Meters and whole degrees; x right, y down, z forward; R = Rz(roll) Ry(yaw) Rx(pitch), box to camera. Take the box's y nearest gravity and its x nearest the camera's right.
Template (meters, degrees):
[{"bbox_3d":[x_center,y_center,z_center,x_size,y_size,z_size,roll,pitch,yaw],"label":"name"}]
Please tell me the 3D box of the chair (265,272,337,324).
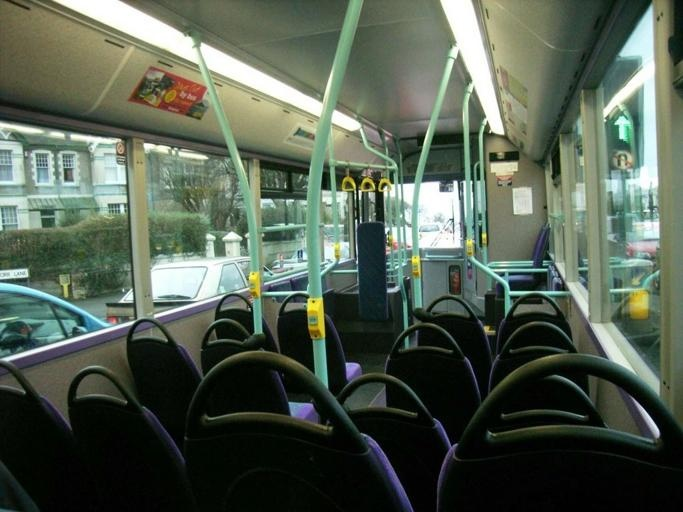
[{"bbox_3d":[-0.397,0.370,4.932,0.266,0.298,0.701,0,2,23],"label":"chair"}]
